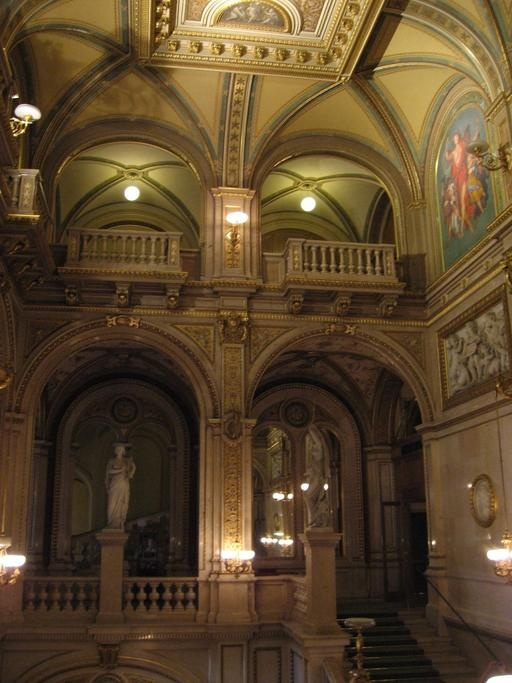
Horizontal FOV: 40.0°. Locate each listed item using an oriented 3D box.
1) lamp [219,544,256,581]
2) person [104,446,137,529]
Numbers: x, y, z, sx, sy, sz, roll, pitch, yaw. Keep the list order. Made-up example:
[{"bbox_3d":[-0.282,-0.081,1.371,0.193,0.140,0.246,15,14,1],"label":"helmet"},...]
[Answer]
[{"bbox_3d":[-0.282,3.346,10.491,0.570,0.493,0.380,10,-45,-8],"label":"lamp"},{"bbox_3d":[-2.105,2.252,10.879,0.422,1.414,1.061,4,-21,-11],"label":"person"}]
